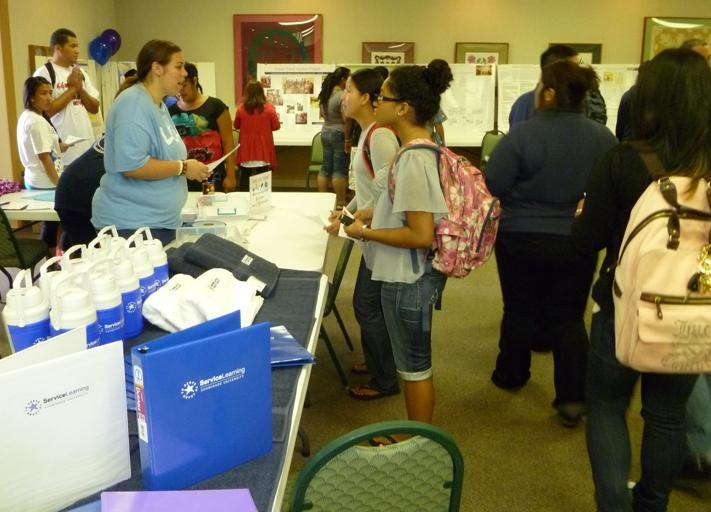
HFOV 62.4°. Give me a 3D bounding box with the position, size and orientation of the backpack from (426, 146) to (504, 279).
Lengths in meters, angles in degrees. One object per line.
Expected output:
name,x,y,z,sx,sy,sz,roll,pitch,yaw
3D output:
backpack,0.427,-0.182,2.380,0.298,0.501,0.380,8,20,29

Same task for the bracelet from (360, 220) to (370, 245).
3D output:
bracelet,0.042,-0.088,2.381,0.053,0.078,0.080,-5,8,3

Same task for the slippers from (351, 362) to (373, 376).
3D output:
slippers,0.046,0.652,3.385,0.118,0.042,0.057,1,20,-6

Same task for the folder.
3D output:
folder,-0.356,0.363,1.455,0.142,0.346,0.357,6,11,37

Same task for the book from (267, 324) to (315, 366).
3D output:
book,-0.199,0.286,1.865,0.128,0.059,0.193,-4,19,-8

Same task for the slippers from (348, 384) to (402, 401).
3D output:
slippers,0.114,0.721,3.144,0.213,0.066,0.099,1,6,-6
